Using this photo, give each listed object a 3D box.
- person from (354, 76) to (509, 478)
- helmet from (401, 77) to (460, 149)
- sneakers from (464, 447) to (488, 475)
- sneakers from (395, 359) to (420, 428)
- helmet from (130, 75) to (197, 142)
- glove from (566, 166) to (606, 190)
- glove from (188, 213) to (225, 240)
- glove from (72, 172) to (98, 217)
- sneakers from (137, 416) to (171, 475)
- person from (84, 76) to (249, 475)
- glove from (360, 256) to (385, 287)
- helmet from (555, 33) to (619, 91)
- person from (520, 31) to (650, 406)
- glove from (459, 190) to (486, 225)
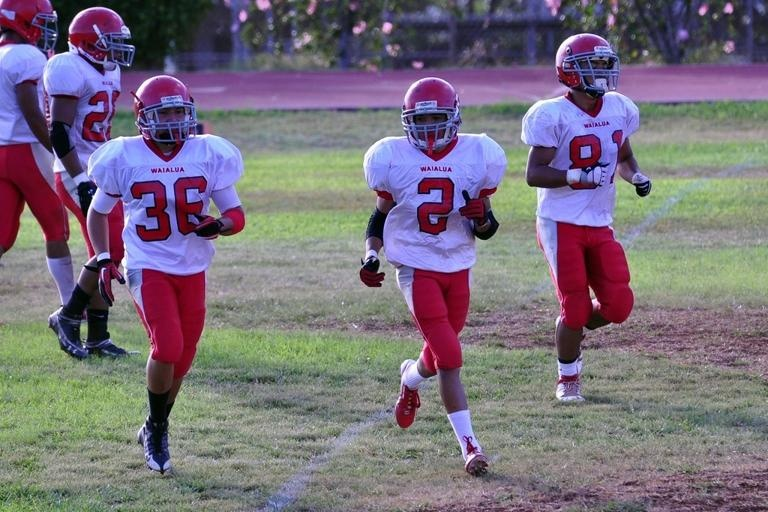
[{"bbox_3d":[0.346,0.133,10.201,1.013,2.779,0.723,1,9,3],"label":"person"},{"bbox_3d":[0.353,-1.026,10.249,0.414,0.438,0.542,-2,11,8],"label":"helmet"},{"bbox_3d":[0.657,1.481,10.104,0.116,0.224,0.111,-23,33,-7],"label":"sneakers"},{"bbox_3d":[0.183,1.025,10.562,0.196,0.482,0.202,0,5,-30],"label":"sneakers"},{"bbox_3d":[-1.556,-1.070,10.203,0.499,0.362,0.473,-12,27,-27],"label":"helmet"},{"bbox_3d":[1.510,-0.602,10.630,0.174,0.094,0.208,13,3,-35],"label":"glove"},{"bbox_3d":[-1.242,-0.206,10.059,0.220,0.175,0.141,-1,9,-10],"label":"glove"},{"bbox_3d":[-2.365,-0.496,11.276,0.268,0.338,0.138,1,0,0],"label":"glove"},{"bbox_3d":[-1.628,1.369,10.147,0.162,0.208,0.456,-2,53,-38],"label":"sneakers"},{"bbox_3d":[-1.544,0.124,10.161,1.090,2.797,0.576,-2,9,-12],"label":"person"},{"bbox_3d":[-0.077,0.118,10.271,0.158,0.223,0.085,9,6,5],"label":"glove"},{"bbox_3d":[1.498,-1.489,10.934,0.437,0.394,0.505,-5,11,-30],"label":"helmet"},{"bbox_3d":[1.525,-0.305,10.945,0.923,2.796,0.645,0,9,1],"label":"person"},{"bbox_3d":[0.667,-0.357,10.181,0.183,0.235,0.088,9,57,35],"label":"glove"}]
